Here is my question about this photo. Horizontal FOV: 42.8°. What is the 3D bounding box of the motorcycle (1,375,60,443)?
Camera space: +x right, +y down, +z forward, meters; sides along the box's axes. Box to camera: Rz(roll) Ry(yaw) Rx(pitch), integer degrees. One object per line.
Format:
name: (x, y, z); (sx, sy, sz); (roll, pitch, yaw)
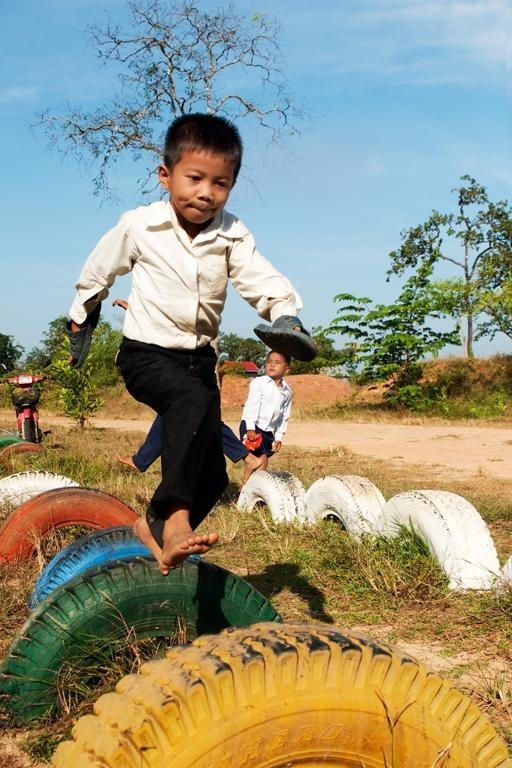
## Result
motorcycle: (-4.412, 0.501, 12.904); (1.053, 1.225, 1.987); (-5, -6, -9)

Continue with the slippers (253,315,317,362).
slippers: (0.096, -0.148, 2.164); (0.099, 0.135, 0.243); (-48, 26, -20)

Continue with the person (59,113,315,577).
person: (-0.169, -0.176, 2.293); (0.622, 1.476, 1.127); (3, 1, -35)
